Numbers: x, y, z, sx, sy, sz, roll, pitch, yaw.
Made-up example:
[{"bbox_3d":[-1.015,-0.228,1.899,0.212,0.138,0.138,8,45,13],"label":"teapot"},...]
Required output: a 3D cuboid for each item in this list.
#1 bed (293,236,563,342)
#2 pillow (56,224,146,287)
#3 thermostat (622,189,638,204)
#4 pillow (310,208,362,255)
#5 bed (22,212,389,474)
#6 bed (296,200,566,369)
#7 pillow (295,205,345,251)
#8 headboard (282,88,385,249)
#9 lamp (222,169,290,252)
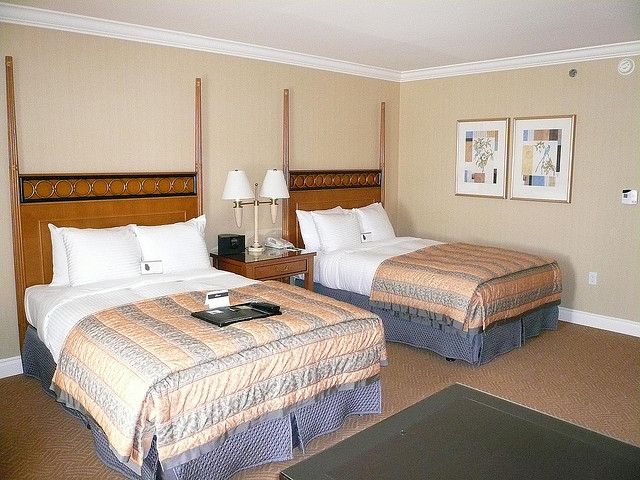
[{"bbox_3d":[1.085,0.452,4.637,1.649,0.387,1.621,-9,13,-42],"label":"bed"},{"bbox_3d":[-2.041,0.165,3.900,0.560,0.410,0.192,-1,-16,-40],"label":"pillow"},{"bbox_3d":[3.721,-0.521,5.042,0.155,0.175,0.033,8,14,34],"label":"thermostat"},{"bbox_3d":[0.218,-0.107,5.533,0.615,0.580,0.178,-6,-17,-38],"label":"pillow"},{"bbox_3d":[-1.198,0.695,3.396,2.093,1.275,2.281,-7,12,-42],"label":"bed"},{"bbox_3d":[1.374,0.317,5.531,2.401,1.414,3.016,-7,11,-33],"label":"bed"},{"bbox_3d":[-0.104,-0.148,5.498,0.577,0.514,0.152,3,-8,-31],"label":"pillow"},{"bbox_3d":[0.149,-1.003,5.926,2.273,2.649,0.123,-8,11,-43],"label":"headboard"},{"bbox_3d":[-0.812,-0.377,5.162,0.988,1.092,0.395,-6,9,-38],"label":"lamp"}]
